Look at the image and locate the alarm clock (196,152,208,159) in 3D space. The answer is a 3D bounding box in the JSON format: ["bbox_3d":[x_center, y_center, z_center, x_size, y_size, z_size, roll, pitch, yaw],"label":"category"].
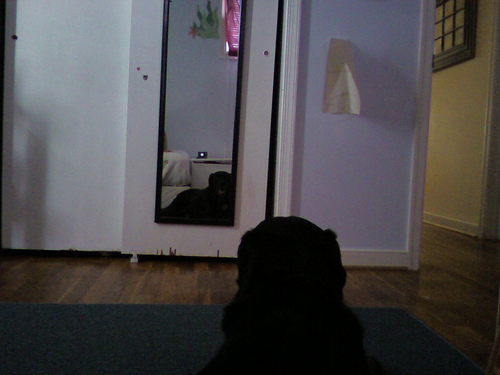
[{"bbox_3d":[-0.369,-0.246,3.087,0.071,0.057,0.042,1,0,-8],"label":"alarm clock"}]
